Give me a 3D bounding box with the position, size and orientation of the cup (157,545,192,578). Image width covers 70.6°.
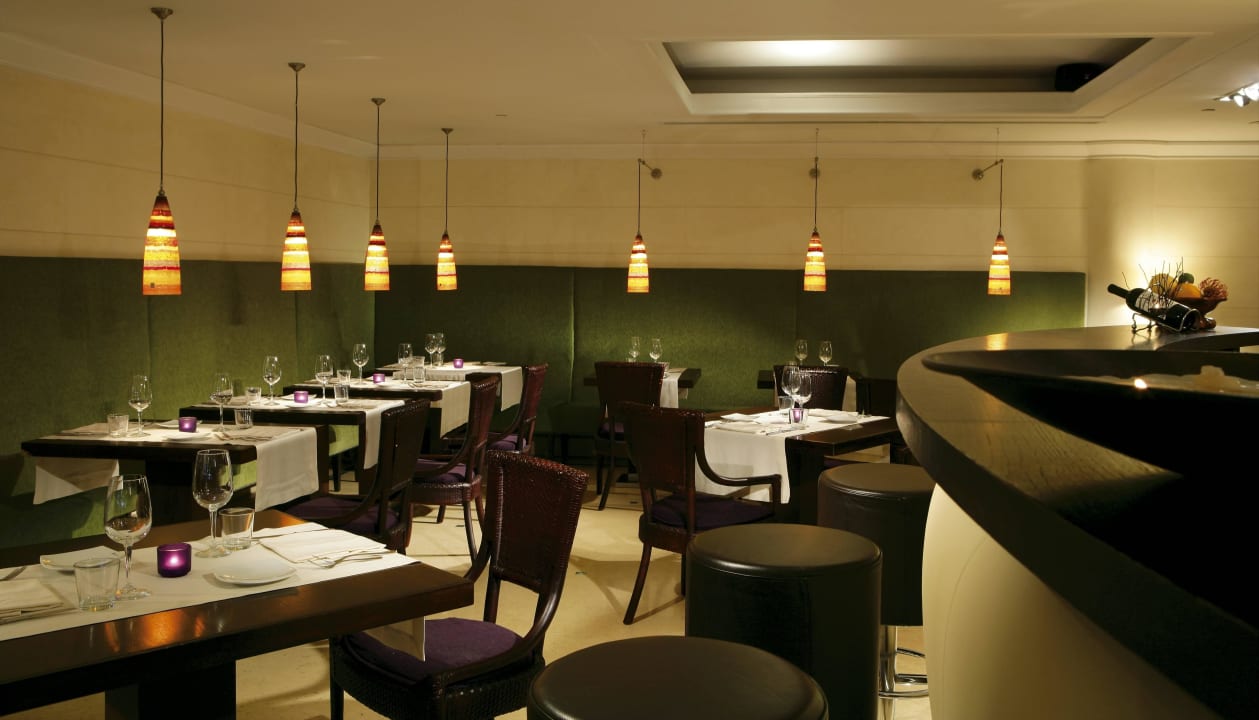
[{"bbox_3d":[-1.698,0.736,3.353,0.120,0.109,0.119,2,4,0],"label":"cup"}]

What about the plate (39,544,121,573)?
[{"bbox_3d":[-2.129,0.753,3.405,0.180,0.042,0.169,0,0,-22],"label":"plate"}]

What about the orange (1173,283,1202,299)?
[{"bbox_3d":[3.376,-0.410,5.356,0.100,0.071,0.124,-4,-1,-15],"label":"orange"}]

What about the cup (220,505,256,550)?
[{"bbox_3d":[-1.590,0.681,3.649,0.147,0.157,0.152,2,-1,0],"label":"cup"}]

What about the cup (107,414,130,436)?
[{"bbox_3d":[-3.097,0.381,5.384,0.132,0.128,0.126,0,2,0],"label":"cup"}]

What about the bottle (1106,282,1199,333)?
[{"bbox_3d":[3.157,-0.307,5.327,0.454,0.257,0.373,2,6,36],"label":"bottle"}]
